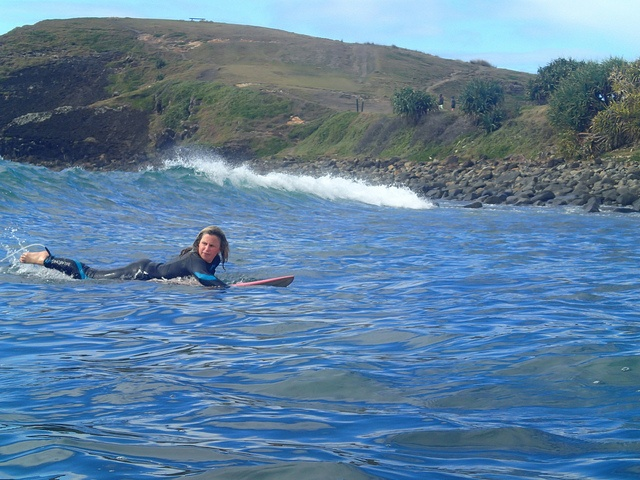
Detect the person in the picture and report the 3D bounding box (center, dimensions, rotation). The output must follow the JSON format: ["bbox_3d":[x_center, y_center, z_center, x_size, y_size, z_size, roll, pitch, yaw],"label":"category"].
[{"bbox_3d":[-3.065,0.291,14.066,3.027,0.470,1.282,1,5,-1],"label":"person"}]

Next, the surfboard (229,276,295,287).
[{"bbox_3d":[-0.921,0.670,14.124,0.984,0.203,0.411,4,9,-3],"label":"surfboard"}]
